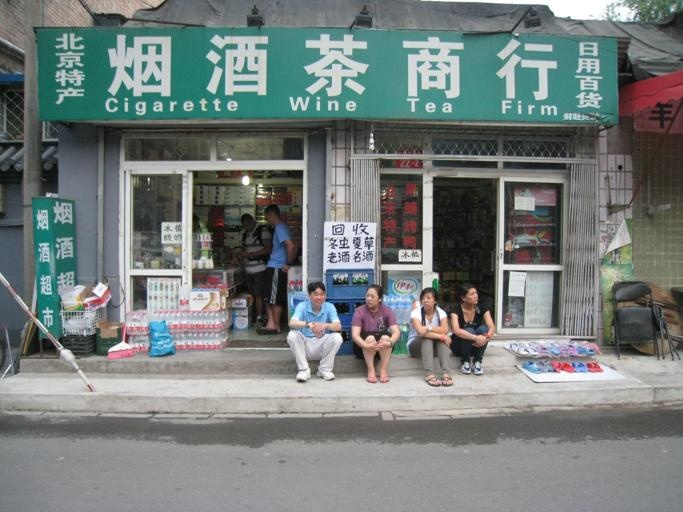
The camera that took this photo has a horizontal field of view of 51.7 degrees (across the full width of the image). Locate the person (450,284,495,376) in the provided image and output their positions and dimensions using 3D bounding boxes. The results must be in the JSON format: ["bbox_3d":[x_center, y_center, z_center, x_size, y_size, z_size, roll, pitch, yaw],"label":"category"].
[{"bbox_3d":[1.778,0.989,9.659,0.570,1.225,0.462,-2,2,1],"label":"person"}]

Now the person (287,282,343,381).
[{"bbox_3d":[-0.574,1.057,9.786,0.955,1.596,1.153,1,-6,-5],"label":"person"}]

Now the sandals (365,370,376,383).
[{"bbox_3d":[0.403,1.587,9.342,0.126,0.151,0.163,-2,2,2],"label":"sandals"}]

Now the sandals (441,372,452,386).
[{"bbox_3d":[1.370,1.599,9.195,0.151,0.119,0.380,0,-1,7],"label":"sandals"}]

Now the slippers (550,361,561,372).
[{"bbox_3d":[2.930,1.501,9.586,0.121,0.099,0.185,-1,3,15],"label":"slippers"}]

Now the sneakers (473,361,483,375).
[{"bbox_3d":[1.864,1.520,9.597,0.129,0.171,0.082,-2,2,6],"label":"sneakers"}]

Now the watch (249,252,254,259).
[{"bbox_3d":[-1.462,-0.014,11.404,0.096,0.095,0.031,-3,-11,13],"label":"watch"}]

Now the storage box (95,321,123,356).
[{"bbox_3d":[-3.252,1.099,10.044,0.376,0.497,0.665,2,2,-3],"label":"storage box"}]

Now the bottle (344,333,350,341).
[{"bbox_3d":[0.063,1.115,9.799,0.104,0.103,0.056,1,-10,0],"label":"bottle"}]

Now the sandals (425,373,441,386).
[{"bbox_3d":[1.195,1.606,9.192,0.201,0.136,0.146,-2,2,8],"label":"sandals"}]

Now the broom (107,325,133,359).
[{"bbox_3d":[-3.098,1.191,9.821,0.296,0.458,0.162,3,-8,-16],"label":"broom"}]

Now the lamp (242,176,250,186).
[{"bbox_3d":[-1.705,-1.329,12.477,0.107,0.148,0.131,-4,-9,-8],"label":"lamp"}]

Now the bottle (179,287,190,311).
[{"bbox_3d":[-2.280,0.607,10.192,0.166,0.306,0.106,3,-12,-2],"label":"bottle"}]

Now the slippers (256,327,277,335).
[{"bbox_3d":[-1.153,1.160,10.968,0.232,0.082,0.131,3,-3,-5],"label":"slippers"}]

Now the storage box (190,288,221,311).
[{"bbox_3d":[-1.987,0.638,10.177,0.513,0.351,0.281,0,-6,-2],"label":"storage box"}]

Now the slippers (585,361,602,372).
[{"bbox_3d":[3.431,1.496,9.596,0.104,0.061,0.169,-2,0,-17],"label":"slippers"}]

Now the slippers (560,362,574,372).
[{"bbox_3d":[3.073,1.501,9.554,0.156,0.098,0.154,-1,3,17],"label":"slippers"}]

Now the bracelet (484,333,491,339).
[{"bbox_3d":[1.980,1.081,9.526,0.087,0.067,0.086,0,0,-17],"label":"bracelet"}]

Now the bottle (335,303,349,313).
[{"bbox_3d":[0.003,0.713,9.798,0.239,0.176,0.130,-2,5,-5],"label":"bottle"}]

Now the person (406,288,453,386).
[{"bbox_3d":[1.186,1.049,9.429,0.569,1.235,0.675,-2,2,1],"label":"person"}]

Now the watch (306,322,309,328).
[{"bbox_3d":[-0.463,0.901,9.359,0.052,0.049,0.051,2,-10,-12],"label":"watch"}]

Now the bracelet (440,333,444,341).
[{"bbox_3d":[1.336,1.058,9.254,0.084,0.075,0.042,-3,3,-31],"label":"bracelet"}]

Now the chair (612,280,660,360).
[{"bbox_3d":[4.251,0.879,10.160,0.695,1.037,0.749,-6,-3,43],"label":"chair"}]

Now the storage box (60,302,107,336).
[{"bbox_3d":[-3.661,0.972,9.890,0.625,0.457,0.345,1,-12,-7],"label":"storage box"}]

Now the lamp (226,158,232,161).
[{"bbox_3d":[-1.673,-1.413,10.381,0.078,0.062,0.121,-2,2,-9],"label":"lamp"}]

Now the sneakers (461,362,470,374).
[{"bbox_3d":[1.701,1.514,9.595,0.129,0.159,0.061,-2,2,7],"label":"sneakers"}]

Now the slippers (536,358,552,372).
[{"bbox_3d":[2.784,1.487,9.640,0.102,0.065,0.164,-2,21,0],"label":"slippers"}]

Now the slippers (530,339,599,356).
[{"bbox_3d":[3.151,1.311,10.020,0.882,0.173,0.505,-2,2,-4],"label":"slippers"}]

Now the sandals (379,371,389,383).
[{"bbox_3d":[0.566,1.588,9.385,0.126,0.141,0.260,-2,2,3],"label":"sandals"}]

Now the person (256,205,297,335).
[{"bbox_3d":[-0.994,0.203,10.960,0.583,1.975,0.430,-1,3,22],"label":"person"}]

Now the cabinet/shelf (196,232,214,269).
[{"bbox_3d":[-2.077,-0.091,10.778,0.211,0.555,0.369,-1,3,16],"label":"cabinet/shelf"}]

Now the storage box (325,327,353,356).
[{"bbox_3d":[0.020,1.199,9.919,0.327,0.334,0.255,1,-7,4],"label":"storage box"}]

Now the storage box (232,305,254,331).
[{"bbox_3d":[-1.570,0.951,11.140,0.297,0.368,0.523,-1,-1,2],"label":"storage box"}]
